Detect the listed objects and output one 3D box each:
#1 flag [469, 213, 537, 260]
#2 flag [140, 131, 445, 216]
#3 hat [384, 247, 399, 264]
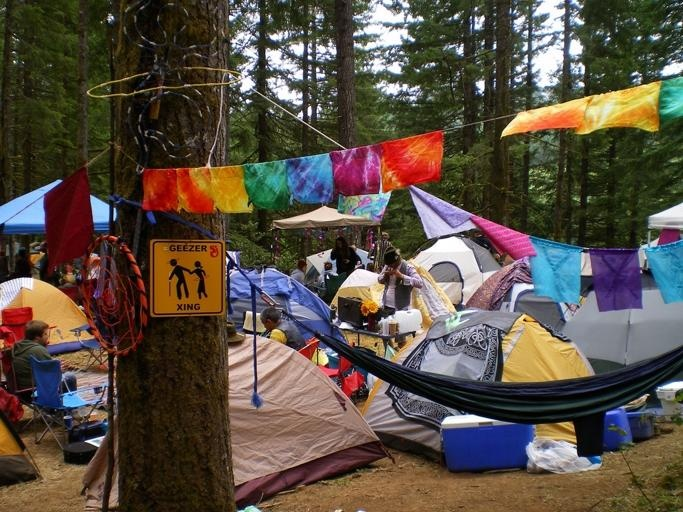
[{"bbox_3d":[1.718,-0.195,8.433,0.159,0.195,0.882,-19,25,-16],"label":"flag"},{"bbox_3d":[-0.434,-0.729,7.227,2.610,0.730,0.812,-2,0,-14],"label":"flag"},{"bbox_3d":[0.721,-0.017,11.365,0.174,0.231,0.091,-12,-38,30],"label":"hat"}]
